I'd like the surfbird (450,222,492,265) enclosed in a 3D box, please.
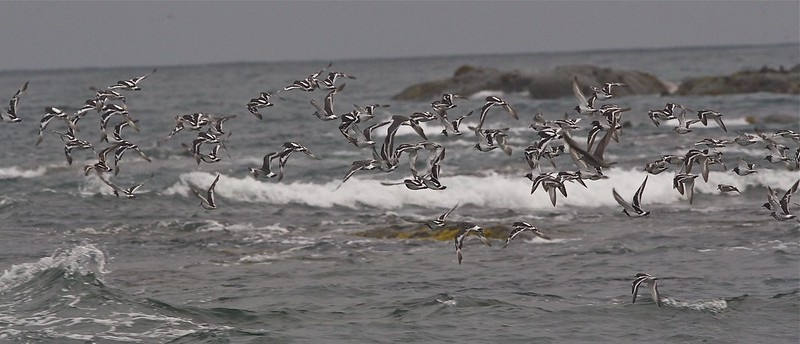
[{"bbox_3d":[4.836,4.292,70.440,2.727,2.602,1.358,-20,-26,39],"label":"surfbird"}]
